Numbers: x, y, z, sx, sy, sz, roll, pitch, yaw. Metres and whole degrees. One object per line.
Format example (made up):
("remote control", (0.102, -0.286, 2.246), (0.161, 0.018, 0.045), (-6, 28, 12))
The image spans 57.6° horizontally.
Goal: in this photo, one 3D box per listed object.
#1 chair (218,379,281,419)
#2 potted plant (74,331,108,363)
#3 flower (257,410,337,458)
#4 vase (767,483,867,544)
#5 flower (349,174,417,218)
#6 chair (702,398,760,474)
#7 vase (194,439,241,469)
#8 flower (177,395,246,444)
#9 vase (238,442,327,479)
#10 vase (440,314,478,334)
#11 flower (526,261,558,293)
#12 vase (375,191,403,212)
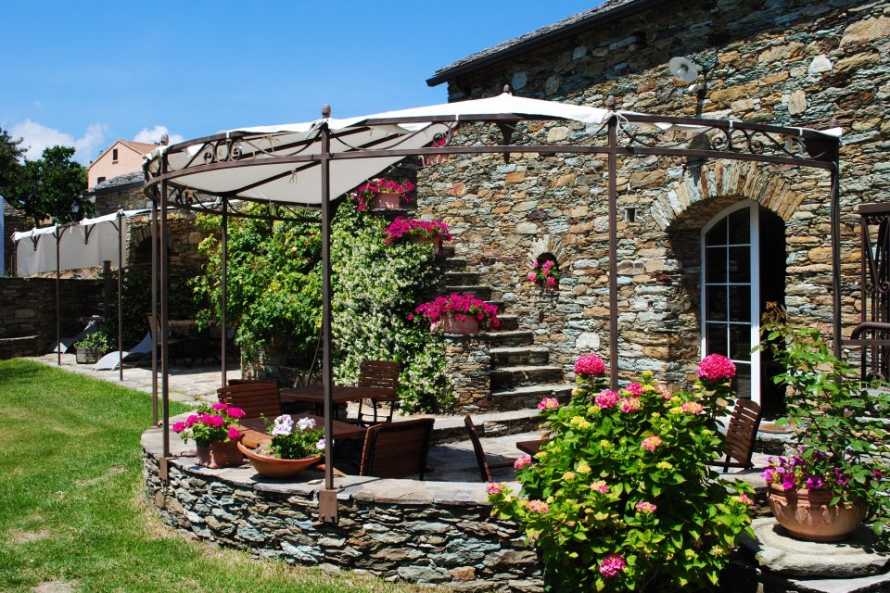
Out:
("chair", (-2.429, 1.246, 10.046), (0.556, 0.309, 0.532), (1, -2, -34))
("potted plant", (-8.030, 1.164, 18.706), (0.751, 0.840, 0.896), (0, 4, -2))
("flower", (-1.603, 1.512, 8.653), (0.610, 0.348, 0.514), (4, -1, -23))
("vase", (3.380, 2.024, 7.726), (0.657, 0.286, 0.630), (6, -7, 4))
("flower", (-1.008, -1.616, 13.045), (0.964, 0.641, 0.311), (5, -5, -25))
("chair", (3.099, 1.492, 8.594), (0.393, 0.794, 0.746), (2, -5, 18))
("vase", (-2.448, 1.710, 8.828), (0.380, 0.212, 0.359), (1, -4, -16))
("flower", (-2.605, 1.396, 8.955), (0.635, 0.313, 0.654), (0, 3, 25))
("vase", (-1.756, 1.767, 8.599), (0.885, 0.326, 0.536), (4, -5, -11))
("vase", (0.221, 0.387, 11.340), (0.360, 0.197, 0.329), (1, -1, -29))
("flower", (1.549, -0.325, 12.834), (0.512, 0.503, 0.476), (3, 9, 0))
("vase", (-0.889, -1.511, 13.050), (0.529, 0.343, 0.261), (0, -3, -17))
